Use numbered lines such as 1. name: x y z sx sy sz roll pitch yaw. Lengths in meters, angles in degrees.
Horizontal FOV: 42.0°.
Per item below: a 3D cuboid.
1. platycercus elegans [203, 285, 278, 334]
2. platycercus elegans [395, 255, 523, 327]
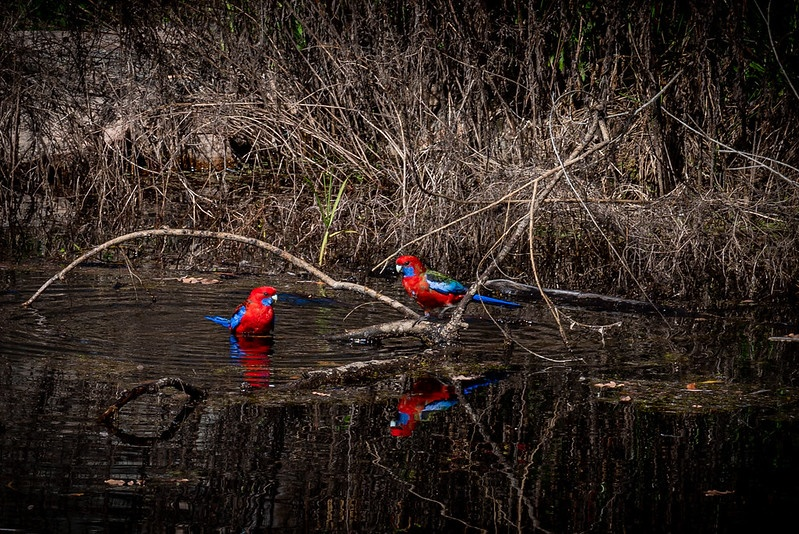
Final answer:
1. platycercus elegans: -1.742 0.505 11.392 0.441 1.086 0.616 4 88 -48
2. platycercus elegans: 0.594 0.218 12.267 1.663 0.453 0.712 -3 83 -42
